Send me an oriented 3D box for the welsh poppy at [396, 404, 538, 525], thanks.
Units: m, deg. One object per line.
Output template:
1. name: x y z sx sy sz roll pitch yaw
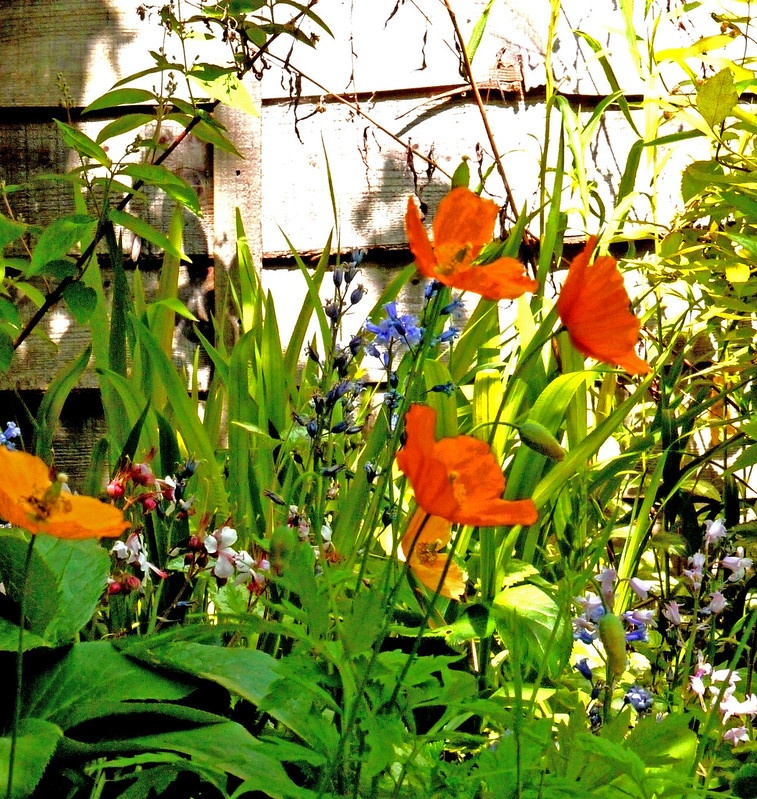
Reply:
1. welsh poppy: 0.120 0.110 2.646 0.147 0.216 0.163 -1 4 -6

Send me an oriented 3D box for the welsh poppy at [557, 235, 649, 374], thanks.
1. welsh poppy: 0.337 -0.135 2.779 0.108 0.233 0.120 1 2 11

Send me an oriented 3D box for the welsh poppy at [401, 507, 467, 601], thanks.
1. welsh poppy: 0.089 0.233 2.769 0.050 0.119 0.126 -32 -18 29

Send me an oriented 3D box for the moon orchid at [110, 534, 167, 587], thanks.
1. moon orchid: -0.402 0.262 3.035 0.098 0.064 0.177 8 -3 -7

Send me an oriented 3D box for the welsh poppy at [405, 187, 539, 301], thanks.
1. welsh poppy: 0.123 -0.222 2.808 0.210 0.095 0.213 33 -33 -23

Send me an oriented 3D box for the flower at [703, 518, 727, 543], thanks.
1. flower: 0.606 0.227 3.242 0.037 0.024 0.045 19 20 26
